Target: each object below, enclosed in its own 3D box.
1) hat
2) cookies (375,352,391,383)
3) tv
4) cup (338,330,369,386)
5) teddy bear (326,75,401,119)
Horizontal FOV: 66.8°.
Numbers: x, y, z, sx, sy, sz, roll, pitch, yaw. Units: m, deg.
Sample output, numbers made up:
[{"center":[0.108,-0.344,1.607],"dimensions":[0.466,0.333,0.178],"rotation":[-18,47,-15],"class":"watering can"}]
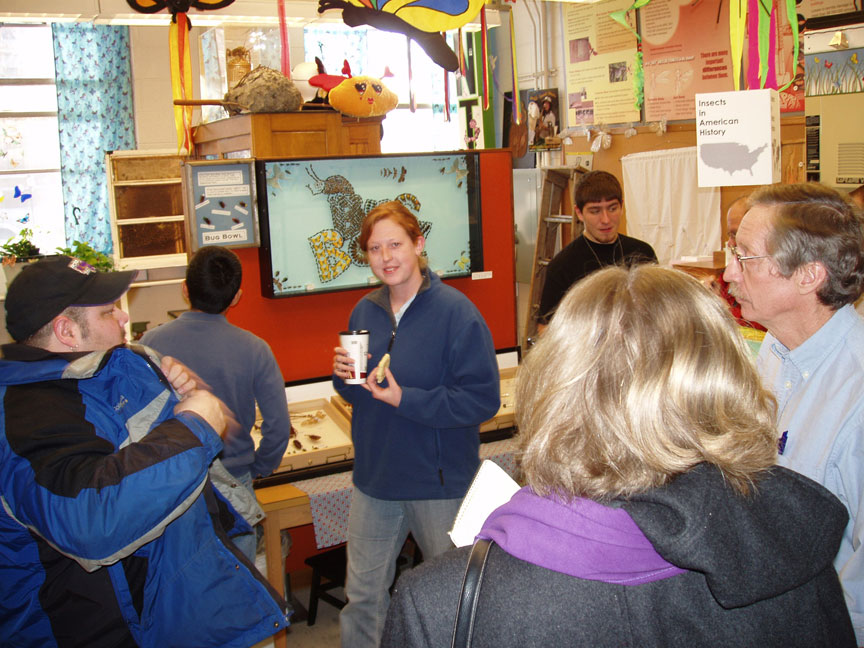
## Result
[{"center":[-1.027,-0.105,1.921],"dimensions":[0.335,0.177,0.215],"rotation":[-20,30,-16],"class":"hat"},{"center":[-0.189,0.183,2.591],"dimensions":[0.037,0.142,0.041],"rotation":[4,-23,23],"class":"cookies"},{"center":[-0.446,-0.618,3.926],"dimensions":[0.978,0.583,0.129],"rotation":[-7,7,-30],"class":"tv"},{"center":[-0.293,0.137,2.567],"dimensions":[0.174,0.272,0.176],"rotation":[-1,-2,0],"class":"cup"},{"center":[-0.433,-1.486,4.297],"dimensions":[0.476,0.248,0.230],"rotation":[-11,28,-23],"class":"teddy bear"}]
